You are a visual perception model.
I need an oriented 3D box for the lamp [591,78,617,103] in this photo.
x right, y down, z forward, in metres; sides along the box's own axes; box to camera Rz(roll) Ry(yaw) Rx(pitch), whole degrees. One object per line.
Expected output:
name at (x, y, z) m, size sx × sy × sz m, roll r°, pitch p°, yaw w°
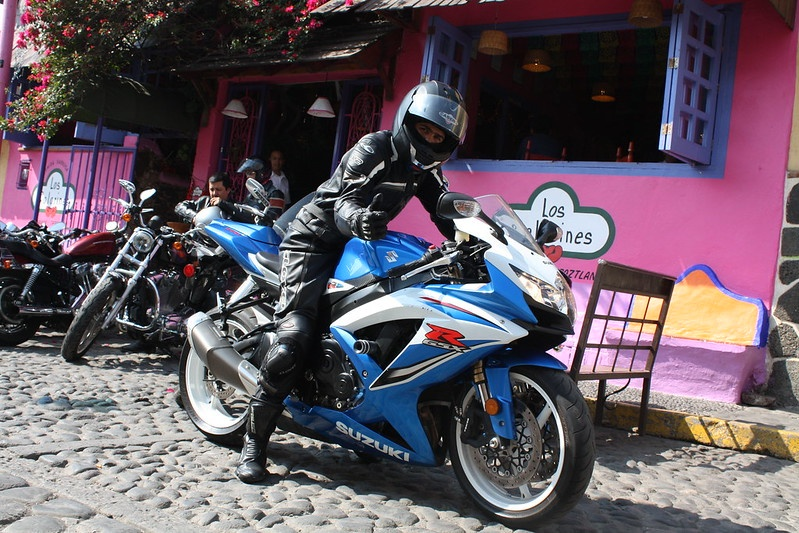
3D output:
lamp at (4.157, -3.595, 12.058) m, size 0.521 × 0.353 × 0.503 m, roll -1°, pitch 0°, yaw 19°

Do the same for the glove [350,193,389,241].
glove at (-0.186, -0.303, 3.860) m, size 0.261 × 0.190 × 0.350 m, roll -25°, pitch 19°, yaw 6°

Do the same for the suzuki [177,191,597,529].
suzuki at (0.085, 0.624, 4.944) m, size 4.103 × 2.111 × 1.469 m, roll 2°, pitch -4°, yaw 35°

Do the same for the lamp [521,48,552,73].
lamp at (2.403, -3.581, 10.319) m, size 0.417 × 0.240 × 0.397 m, roll 4°, pitch 0°, yaw 18°

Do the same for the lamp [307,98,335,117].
lamp at (-1.401, -2.821, 10.657) m, size 0.448 × 0.283 × 0.443 m, roll 0°, pitch 4°, yaw -19°

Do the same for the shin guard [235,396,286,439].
shin guard at (-0.951, 1.055, 4.281) m, size 0.287 × 0.302 × 0.304 m, roll 25°, pitch -3°, yaw 6°

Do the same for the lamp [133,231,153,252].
lamp at (-2.886, -0.281, 6.677) m, size 0.243 × 0.226 × 0.056 m, roll 23°, pitch 3°, yaw 10°

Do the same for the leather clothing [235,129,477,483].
leather clothing at (-0.588, -0.007, 4.646) m, size 1.743 × 2.008 × 3.138 m, roll 11°, pitch 1°, yaw -18°

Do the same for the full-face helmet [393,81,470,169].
full-face helmet at (0.194, -0.996, 4.225) m, size 0.499 × 0.569 × 0.615 m, roll 20°, pitch 12°, yaw -26°

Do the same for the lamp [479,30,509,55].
lamp at (1.408, -3.342, 8.861) m, size 0.427 × 0.245 × 0.407 m, roll 2°, pitch 3°, yaw 7°
